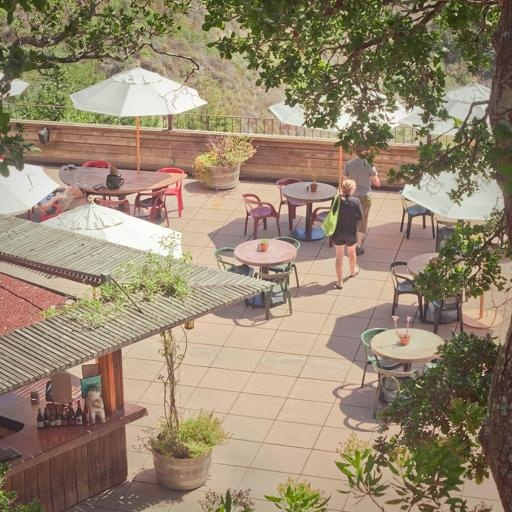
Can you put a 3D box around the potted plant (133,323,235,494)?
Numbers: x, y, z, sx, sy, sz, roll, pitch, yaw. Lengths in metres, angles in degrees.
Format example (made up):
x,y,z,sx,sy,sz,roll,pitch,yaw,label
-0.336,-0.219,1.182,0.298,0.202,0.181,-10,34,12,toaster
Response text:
x,y,z,sx,sy,sz,roll,pitch,yaw,label
-0.877,1.568,7.490,0.967,2.232,2.333,0,14,-10,potted plant

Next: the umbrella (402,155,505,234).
x,y,z,sx,sy,sz,roll,pitch,yaw,label
3.288,-0.972,9.890,1.867,0.972,1.515,1,48,3,umbrella

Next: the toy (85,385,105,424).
x,y,z,sx,sy,sz,roll,pitch,yaw,label
-1.728,1.596,6.667,0.189,0.402,0.145,-3,16,-21,toy

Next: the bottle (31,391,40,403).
x,y,z,sx,sy,sz,roll,pitch,yaw,label
-2.527,1.604,7.078,0.083,0.110,0.168,-2,13,-17,bottle

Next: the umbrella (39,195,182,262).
x,y,z,sx,sy,sz,roll,pitch,yaw,label
-2.025,-0.427,8.587,1.819,0.543,0.882,9,14,30,umbrella

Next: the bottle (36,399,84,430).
x,y,z,sx,sy,sz,roll,pitch,yaw,label
-2.081,1.664,6.615,0.487,0.264,0.203,-2,15,-19,bottle
